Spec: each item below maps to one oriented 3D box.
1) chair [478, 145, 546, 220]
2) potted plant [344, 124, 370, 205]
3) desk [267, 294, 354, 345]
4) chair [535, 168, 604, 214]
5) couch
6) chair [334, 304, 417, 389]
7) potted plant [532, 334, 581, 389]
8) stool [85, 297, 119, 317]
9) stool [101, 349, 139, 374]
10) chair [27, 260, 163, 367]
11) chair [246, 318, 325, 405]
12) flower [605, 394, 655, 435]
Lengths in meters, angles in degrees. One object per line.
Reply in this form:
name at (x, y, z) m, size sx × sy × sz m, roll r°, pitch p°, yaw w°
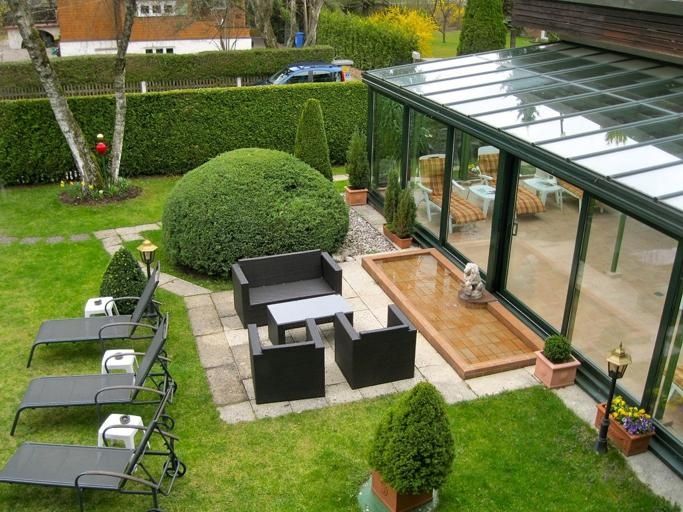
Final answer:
chair at (3.327, -1.546, 11.135) m, size 0.758 × 1.077 × 1.580 m, roll -10°, pitch 27°, yaw -17°
potted plant at (0.441, -2.671, 16.188) m, size 0.726 × 2.145 × 1.155 m, roll -1°, pitch 31°, yaw 2°
desk at (-0.672, 1.438, 10.560) m, size 1.435 × 0.676 × 0.781 m, roll -13°, pitch 36°, yaw -17°
chair at (3.894, -1.111, 9.408) m, size 0.269 × 0.225 × 0.930 m, roll -20°, pitch 40°, yaw -13°
couch at (-1.111, 0.667, 11.263) m, size 2.054 × 1.188 × 1.059 m, roll -7°, pitch 22°, yaw -20°
chair at (0.561, 1.523, 9.710) m, size 1.177 × 1.075 × 0.902 m, roll -7°, pitch 25°, yaw -19°
potted plant at (3.692, 1.832, 9.457) m, size 0.468 × 0.780 × 0.544 m, roll -6°, pitch 27°, yaw -9°
stool at (-4.594, 0.962, 10.592) m, size 0.464 × 0.462 × 0.473 m, roll -4°, pitch 26°, yaw -8°
stool at (-3.699, 1.755, 9.168) m, size 0.507 × 0.487 × 0.531 m, roll -1°, pitch 55°, yaw -19°
chair at (-4.144, 0.858, 10.442) m, size 2.870 × 1.959 × 1.334 m, roll 2°, pitch 29°, yaw -11°
chair at (-0.845, 1.994, 9.713) m, size 1.096 × 1.253 × 1.487 m, roll -5°, pitch 4°, yaw -6°
flower at (4.277, 2.444, 8.438) m, size 0.698 × 0.355 × 0.744 m, roll 7°, pitch 14°, yaw 19°
